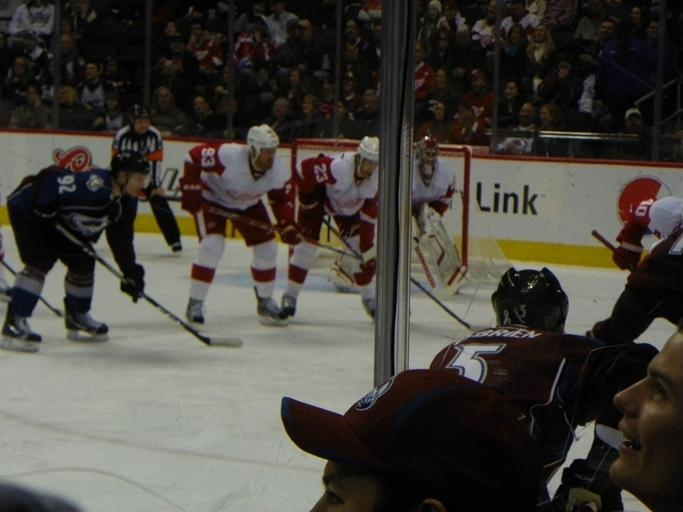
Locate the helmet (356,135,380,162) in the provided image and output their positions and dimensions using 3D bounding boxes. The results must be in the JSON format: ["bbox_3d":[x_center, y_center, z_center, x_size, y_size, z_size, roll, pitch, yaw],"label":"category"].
[{"bbox_3d":[0.189,-0.761,7.629,0.113,0.159,0.195,-3,15,-14],"label":"helmet"}]

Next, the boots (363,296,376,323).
[{"bbox_3d":[0.202,0.393,7.721,0.118,0.077,0.248,-4,44,-6],"label":"boots"}]

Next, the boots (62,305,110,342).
[{"bbox_3d":[-1.690,0.470,7.071,0.305,0.200,0.161,1,6,-9],"label":"boots"}]

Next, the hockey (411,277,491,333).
[{"bbox_3d":[0.670,0.317,7.714,0.519,0.025,0.146,41,19,5],"label":"hockey"}]

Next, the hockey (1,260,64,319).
[{"bbox_3d":[-2.119,0.241,7.247,0.610,0.088,0.085,38,-31,-29],"label":"hockey"}]

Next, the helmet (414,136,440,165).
[{"bbox_3d":[0.686,-0.873,8.704,0.180,0.208,0.231,2,1,-6],"label":"helmet"}]

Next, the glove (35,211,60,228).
[{"bbox_3d":[-1.834,-0.226,6.610,0.143,0.115,0.042,-4,15,-20],"label":"glove"}]

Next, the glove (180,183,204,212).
[{"bbox_3d":[-1.068,-0.420,7.546,0.135,0.209,0.232,-1,14,-6],"label":"glove"}]

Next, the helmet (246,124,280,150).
[{"bbox_3d":[-0.566,-0.844,7.557,0.202,0.168,0.238,0,14,-6],"label":"helmet"}]

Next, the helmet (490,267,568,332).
[{"bbox_3d":[0.865,0.196,4.922,0.257,0.269,0.307,4,6,15],"label":"helmet"}]

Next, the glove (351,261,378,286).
[{"bbox_3d":[0.168,0.139,7.791,0.139,0.191,0.103,6,-7,33],"label":"glove"}]
